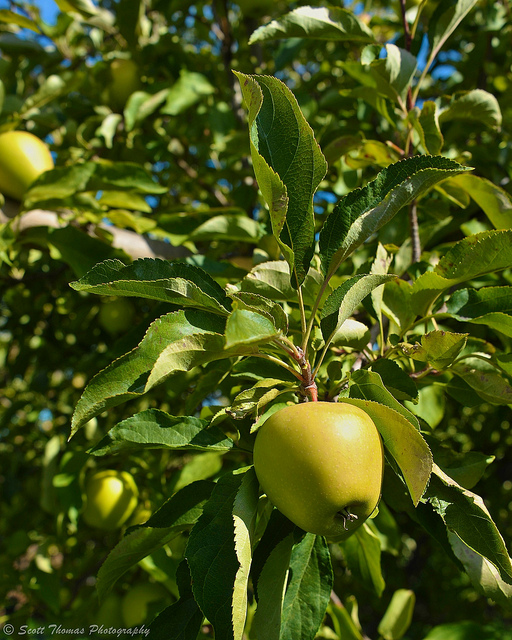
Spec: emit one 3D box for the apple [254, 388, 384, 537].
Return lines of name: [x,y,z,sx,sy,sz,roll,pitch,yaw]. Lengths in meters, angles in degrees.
apple: [0.088,0.195,0.987,0.191,0.172,0.182,3,82,-9]

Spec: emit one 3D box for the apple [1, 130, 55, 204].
apple: [-0.557,-0.376,1.567,0.115,0.144,0.139,-10,55,1]
